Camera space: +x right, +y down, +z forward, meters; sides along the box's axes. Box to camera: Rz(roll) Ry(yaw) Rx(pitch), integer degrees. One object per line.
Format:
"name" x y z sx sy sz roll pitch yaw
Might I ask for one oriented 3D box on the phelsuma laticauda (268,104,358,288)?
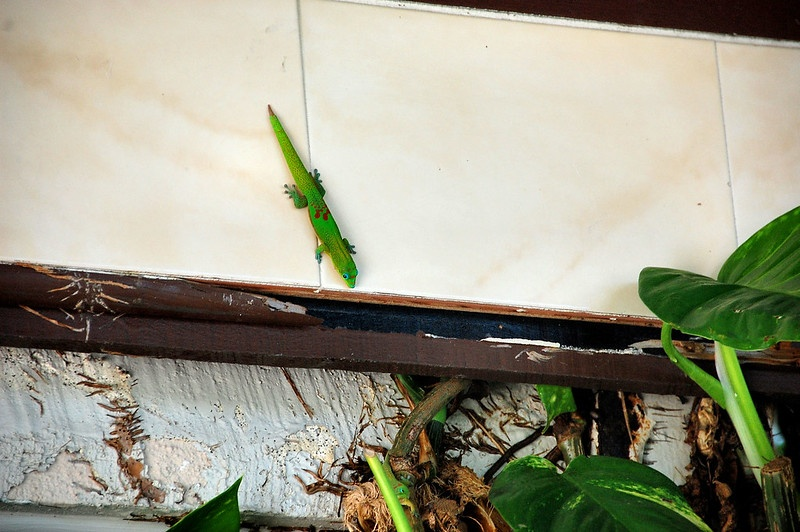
"phelsuma laticauda" -0.261 -0.193 3.079 0.147 0.648 0.069 -17 -8 -4
